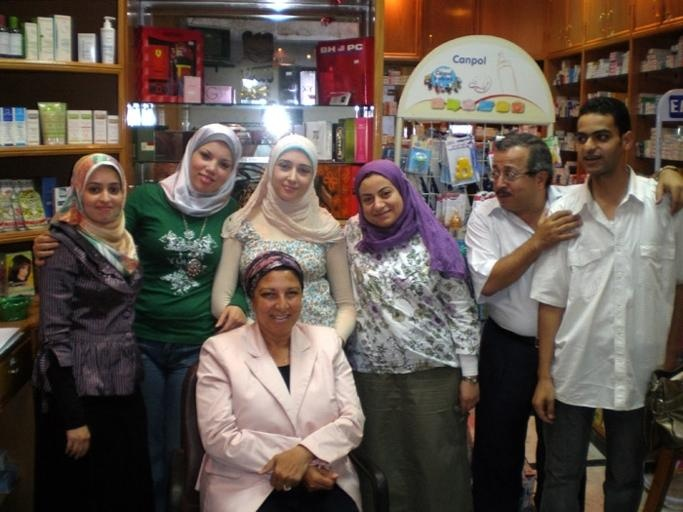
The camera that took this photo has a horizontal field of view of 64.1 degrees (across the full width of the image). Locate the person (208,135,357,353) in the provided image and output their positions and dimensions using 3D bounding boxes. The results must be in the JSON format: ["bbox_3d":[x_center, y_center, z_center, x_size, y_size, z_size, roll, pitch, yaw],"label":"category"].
[{"bbox_3d":[-0.254,-0.001,2.648,0.700,1.121,0.623,1,4,-12],"label":"person"}]

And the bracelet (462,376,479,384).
[{"bbox_3d":[0.621,0.583,2.594,0.042,0.027,0.046,2,0,-7],"label":"bracelet"}]

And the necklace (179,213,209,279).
[{"bbox_3d":[-0.709,-0.042,2.622,0.207,0.363,0.050,3,-30,-18],"label":"necklace"}]

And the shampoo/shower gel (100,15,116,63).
[{"bbox_3d":[-1.485,-1.378,3.478,0.099,0.300,0.103,-3,9,-19],"label":"shampoo/shower gel"}]

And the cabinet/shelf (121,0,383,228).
[{"bbox_3d":[-0.575,-0.892,3.424,1.634,1.502,0.532,-1,-1,0],"label":"cabinet/shelf"}]

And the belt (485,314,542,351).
[{"bbox_3d":[0.833,0.339,2.523,0.141,0.152,0.035,1,47,44],"label":"belt"}]
